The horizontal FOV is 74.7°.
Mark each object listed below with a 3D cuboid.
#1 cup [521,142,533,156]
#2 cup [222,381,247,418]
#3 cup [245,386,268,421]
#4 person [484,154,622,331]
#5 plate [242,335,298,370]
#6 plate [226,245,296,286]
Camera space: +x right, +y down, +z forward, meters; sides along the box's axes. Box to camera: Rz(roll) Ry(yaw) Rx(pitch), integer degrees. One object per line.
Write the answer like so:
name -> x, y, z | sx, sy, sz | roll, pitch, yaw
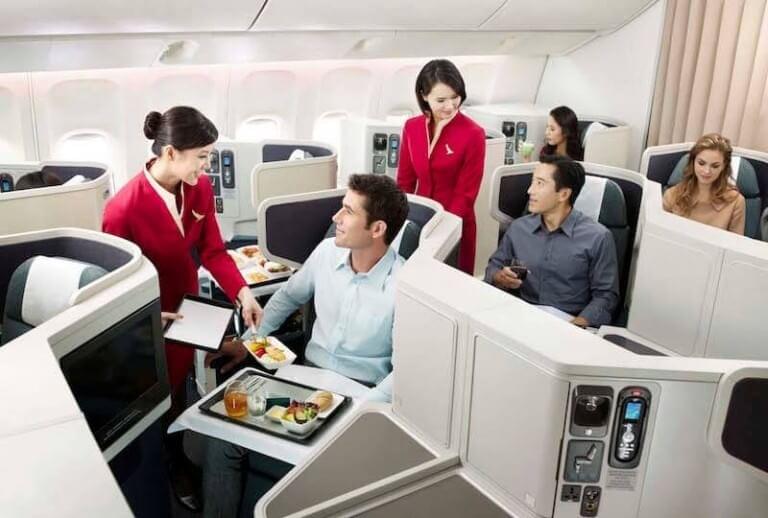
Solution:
cup -> 1.527, -1.177, 5.362 | 0.113, 0.120, 0.118 | 2, 19, -1
cup -> -0.530, 0.520, 1.845 | 0.075, 0.104, 0.106 | 0, 9, -3
cup -> -0.450, 0.508, 1.780 | 0.078, 0.113, 0.084 | 2, 4, 0
person -> 0.940, -0.087, 2.722 | 0.547, 0.947, 0.760 | -15, 20, -41
plate -> -0.543, 0.435, 2.371 | 0.135, 0.060, 0.198 | -14, 27, -34
plate -> -0.914, 0.061, 3.705 | 0.372, 0.056, 0.408 | -10, 25, -28
